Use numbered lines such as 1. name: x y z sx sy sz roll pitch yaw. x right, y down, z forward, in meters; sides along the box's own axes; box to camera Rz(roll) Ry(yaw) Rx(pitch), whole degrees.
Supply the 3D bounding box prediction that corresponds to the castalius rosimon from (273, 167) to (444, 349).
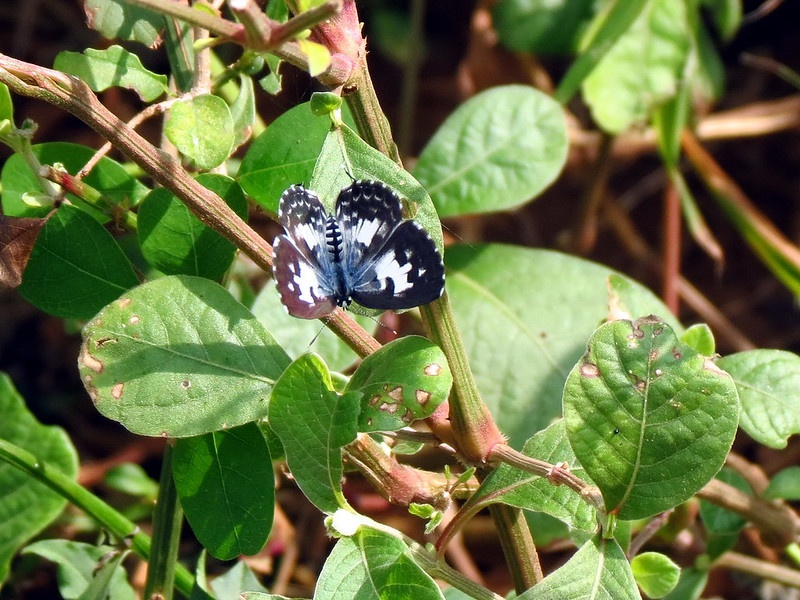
1. castalius rosimon: -0.072 -0.075 1.443 0.274 0.215 0.229 -2 77 -3
